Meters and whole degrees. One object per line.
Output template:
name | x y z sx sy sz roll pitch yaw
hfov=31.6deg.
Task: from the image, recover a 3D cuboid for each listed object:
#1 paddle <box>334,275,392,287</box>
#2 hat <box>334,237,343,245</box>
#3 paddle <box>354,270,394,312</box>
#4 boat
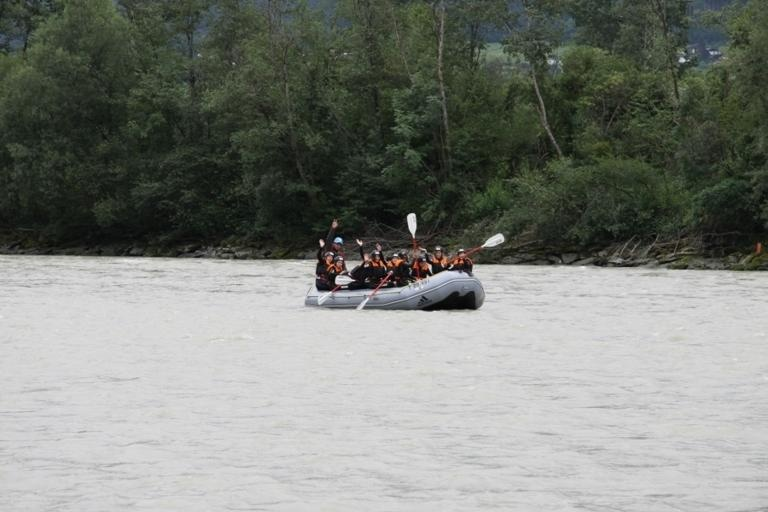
paddle | -1.249 1.177 64.321 1.781 0.426 0.864 4 0 1
hat | -2.283 -0.736 65.673 0.654 0.259 0.432 -6 -9 37
paddle | -0.382 1.682 63.740 3.062 0.317 0.235 -36 -14 -24
boat | 0.877 1.864 63.474 5.266 0.951 2.821 -5 -10 19
